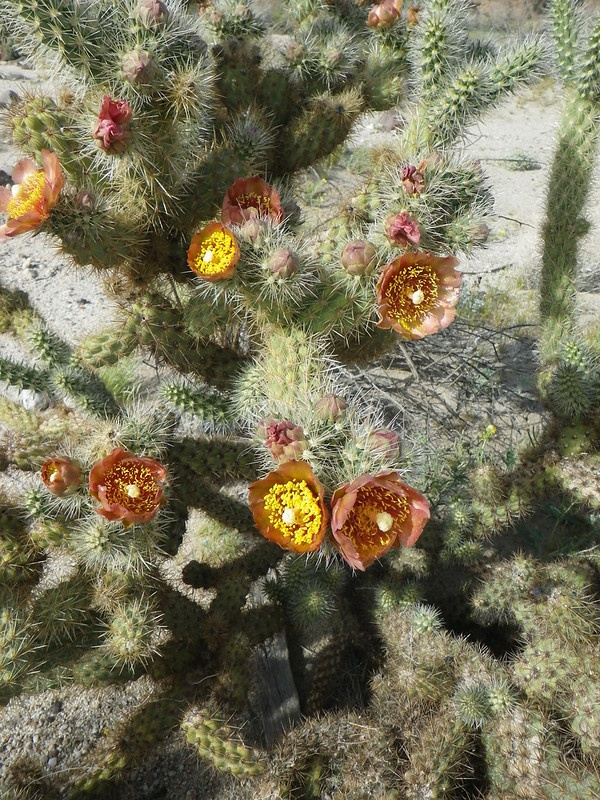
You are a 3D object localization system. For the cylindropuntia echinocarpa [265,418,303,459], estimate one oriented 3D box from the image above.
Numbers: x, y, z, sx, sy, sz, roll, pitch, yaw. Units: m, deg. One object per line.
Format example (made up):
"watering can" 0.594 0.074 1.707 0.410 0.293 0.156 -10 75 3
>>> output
"cylindropuntia echinocarpa" -0.050 0.103 1.817 0.084 0.067 0.096 -31 84 -17

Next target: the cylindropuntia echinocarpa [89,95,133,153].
"cylindropuntia echinocarpa" -0.470 -0.696 1.888 0.072 0.128 0.127 22 27 39

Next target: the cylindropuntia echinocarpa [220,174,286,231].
"cylindropuntia echinocarpa" -0.149 -0.585 2.178 0.195 0.079 0.162 -1 83 -7

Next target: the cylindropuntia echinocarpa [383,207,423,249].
"cylindropuntia echinocarpa" 0.277 -0.471 2.038 0.098 0.094 0.137 -5 52 8

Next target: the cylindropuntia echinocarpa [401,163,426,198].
"cylindropuntia echinocarpa" 0.329 -0.628 2.141 0.078 0.089 0.052 9 15 19

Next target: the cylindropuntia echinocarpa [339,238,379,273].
"cylindropuntia echinocarpa" 0.161 -0.392 2.059 0.088 0.092 0.092 5 6 4

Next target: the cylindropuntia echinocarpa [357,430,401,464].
"cylindropuntia echinocarpa" 0.193 0.113 1.824 0.071 0.083 0.083 19 45 2

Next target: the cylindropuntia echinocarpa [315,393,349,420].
"cylindropuntia echinocarpa" 0.073 0.015 1.840 0.069 0.038 0.061 -11 87 -12

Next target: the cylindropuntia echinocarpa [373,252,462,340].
"cylindropuntia echinocarpa" 0.306 -0.280 1.988 0.227 0.230 0.101 -3 19 -21

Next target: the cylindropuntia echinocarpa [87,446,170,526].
"cylindropuntia echinocarpa" -0.441 0.220 1.883 0.164 0.142 0.174 4 54 15

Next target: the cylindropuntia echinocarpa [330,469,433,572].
"cylindropuntia echinocarpa" 0.165 0.280 1.711 0.219 0.278 0.158 -38 55 -16

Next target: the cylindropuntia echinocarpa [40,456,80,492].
"cylindropuntia echinocarpa" -0.618 0.201 1.959 0.085 0.094 0.096 -3 59 -10

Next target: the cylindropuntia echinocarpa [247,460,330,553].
"cylindropuntia echinocarpa" -0.002 0.253 1.689 0.213 0.187 0.082 -9 7 46

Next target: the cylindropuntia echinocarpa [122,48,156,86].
"cylindropuntia echinocarpa" -0.408 -0.854 1.918 0.090 0.083 0.052 19 22 2
